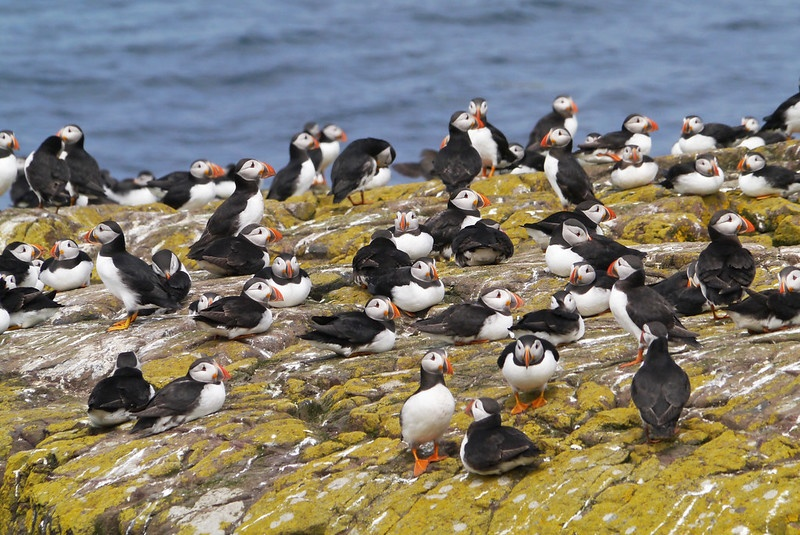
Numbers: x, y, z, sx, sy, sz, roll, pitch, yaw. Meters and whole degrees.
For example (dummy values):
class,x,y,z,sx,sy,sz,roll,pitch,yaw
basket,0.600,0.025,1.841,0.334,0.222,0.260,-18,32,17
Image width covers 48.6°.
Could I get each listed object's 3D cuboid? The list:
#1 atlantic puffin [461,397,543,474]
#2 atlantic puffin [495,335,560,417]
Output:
class,x,y,z,sx,sy,sz,roll,pitch,yaw
atlantic puffin,1.248,2.041,10.653,0.763,0.879,1.181,-6,3,-44
atlantic puffin,1.602,1.333,11.074,0.687,0.831,1.073,-4,12,3
